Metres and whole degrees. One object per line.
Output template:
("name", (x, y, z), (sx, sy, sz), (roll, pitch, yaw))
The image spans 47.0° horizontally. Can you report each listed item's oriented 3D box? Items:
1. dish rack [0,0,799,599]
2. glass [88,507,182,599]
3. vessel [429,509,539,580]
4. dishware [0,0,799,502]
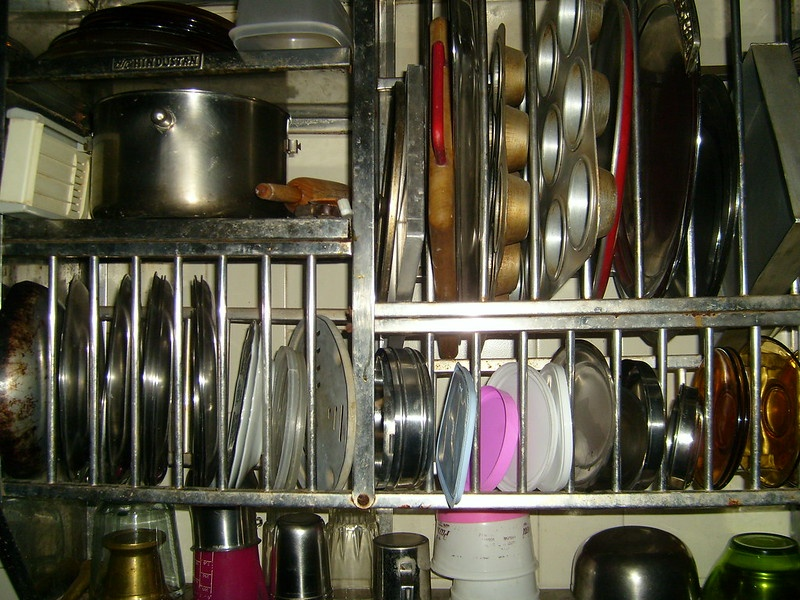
("dish rack", (-0.014, 0.002, 2.110), (1.763, 1.535, 0.491), (-1, -1, -1))
("glass", (-0.664, 0.649, 2.384), (0.191, 0.269, 0.227), (-7, -18, 5))
("vessel", (0.208, 0.587, 2.262), (0.253, 0.192, 0.266), (2, -9, -32))
("dishware", (-0.002, -0.101, 2.091), (1.055, 1.203, 0.283), (0, -3, -7))
